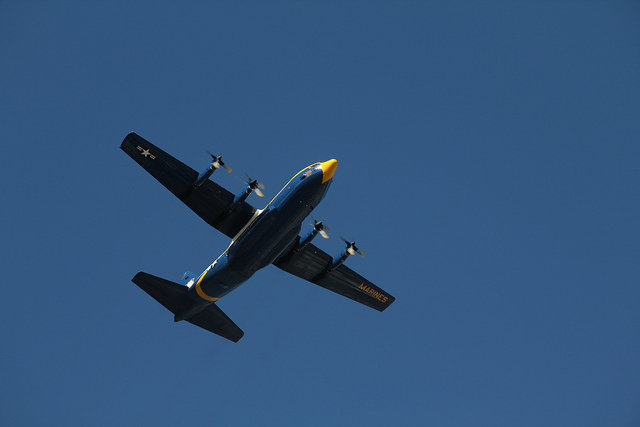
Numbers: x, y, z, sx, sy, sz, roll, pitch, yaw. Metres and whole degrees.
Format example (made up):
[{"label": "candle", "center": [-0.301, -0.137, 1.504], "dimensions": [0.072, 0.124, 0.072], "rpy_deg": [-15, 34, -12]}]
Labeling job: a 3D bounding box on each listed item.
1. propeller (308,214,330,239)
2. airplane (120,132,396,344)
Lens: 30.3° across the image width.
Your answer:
[{"label": "propeller", "center": [0.100, 1.222, 81.457], "dimensions": [1.813, 0.551, 1.255], "rpy_deg": [39, -51, -8]}, {"label": "airplane", "center": [-4.474, 2.116, 82.833], "dimensions": [18.955, 15.081, 5.630], "rpy_deg": [40, 17, -29]}]
